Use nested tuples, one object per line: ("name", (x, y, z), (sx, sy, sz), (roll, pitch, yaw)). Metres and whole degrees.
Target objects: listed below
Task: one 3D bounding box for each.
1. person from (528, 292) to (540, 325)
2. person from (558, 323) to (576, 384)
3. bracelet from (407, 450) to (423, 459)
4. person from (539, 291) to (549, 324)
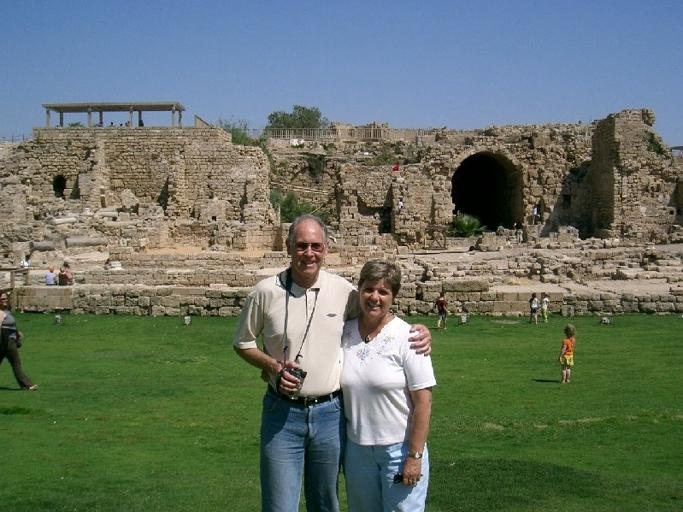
("person", (5.131, 1.436, 30.441), (0.269, 0.793, 1.154), (0, 0, 10))
("person", (5.071, 2.217, 25.760), (0.312, 1.265, 1.528), (0, 0, 12))
("bracelet", (1.269, 3.503, 19.888), (0.150, 0.097, 0.148), (3, -4, -28))
("person", (5.447, 1.426, 30.679), (0.236, 0.762, 0.991), (0, 0, 10))
